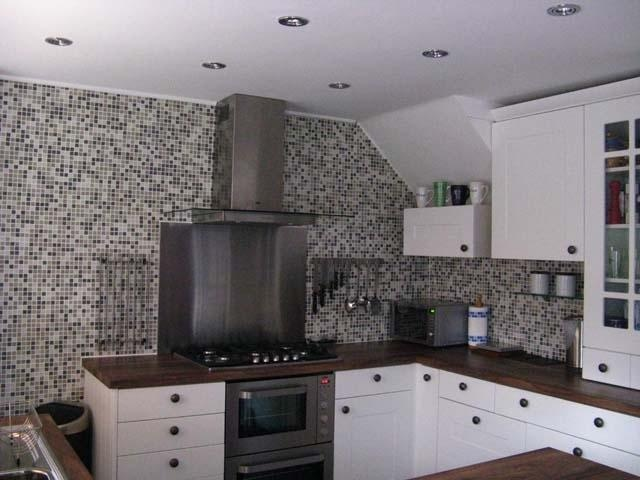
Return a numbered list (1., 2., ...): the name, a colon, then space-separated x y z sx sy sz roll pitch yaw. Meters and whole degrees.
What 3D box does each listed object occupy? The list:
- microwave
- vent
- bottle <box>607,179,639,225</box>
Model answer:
1. microwave: 0.928 0.594 4.551 0.354 0.323 0.505 2 -3 -32
2. vent: -0.430 -0.160 3.989 1.255 0.155 0.619 -2 7 -24
3. bottle: 1.760 -0.230 3.307 0.031 0.258 0.141 -3 7 -31
